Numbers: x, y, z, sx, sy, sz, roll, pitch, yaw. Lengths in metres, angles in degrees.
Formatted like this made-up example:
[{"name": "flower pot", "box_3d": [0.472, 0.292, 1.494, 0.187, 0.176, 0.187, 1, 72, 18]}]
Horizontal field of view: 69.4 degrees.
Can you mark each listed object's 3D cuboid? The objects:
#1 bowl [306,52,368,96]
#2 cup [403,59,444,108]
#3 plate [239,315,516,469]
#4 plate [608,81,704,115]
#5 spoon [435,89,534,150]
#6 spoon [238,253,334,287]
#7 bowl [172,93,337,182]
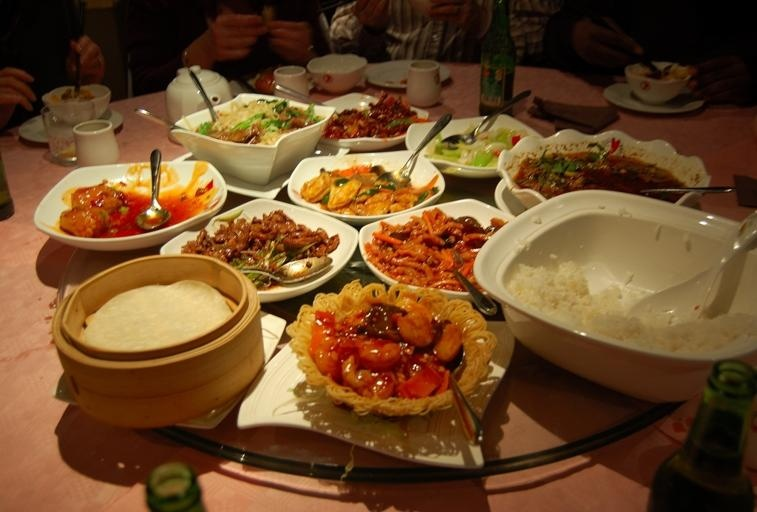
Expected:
[{"name": "bowl", "box_3d": [-0.255, -1.114, 3.327, 0.316, 0.142, 0.308, 0, 44, 0]}, {"name": "cup", "box_3d": [0.247, -0.973, 3.198, 0.266, 0.253, 0.258, -2, 39, 1]}, {"name": "plate", "box_3d": [-0.056, 0.408, 1.526, 0.533, 0.093, 0.444, 11, 39, 13]}, {"name": "plate", "box_3d": [1.499, -0.855, 3.064, 0.289, 0.042, 0.288, 19, 41, 24]}, {"name": "spoon", "box_3d": [0.551, -0.693, 2.802, 0.773, 0.113, 0.161, -35, 92, -30]}, {"name": "spoon", "box_3d": [-0.290, 0.049, 1.967, 0.454, 0.064, 0.105, -6, 44, -15]}, {"name": "bowl", "box_3d": [-0.499, -0.524, 2.538, 0.531, 0.237, 0.623, 25, 41, 30]}]
